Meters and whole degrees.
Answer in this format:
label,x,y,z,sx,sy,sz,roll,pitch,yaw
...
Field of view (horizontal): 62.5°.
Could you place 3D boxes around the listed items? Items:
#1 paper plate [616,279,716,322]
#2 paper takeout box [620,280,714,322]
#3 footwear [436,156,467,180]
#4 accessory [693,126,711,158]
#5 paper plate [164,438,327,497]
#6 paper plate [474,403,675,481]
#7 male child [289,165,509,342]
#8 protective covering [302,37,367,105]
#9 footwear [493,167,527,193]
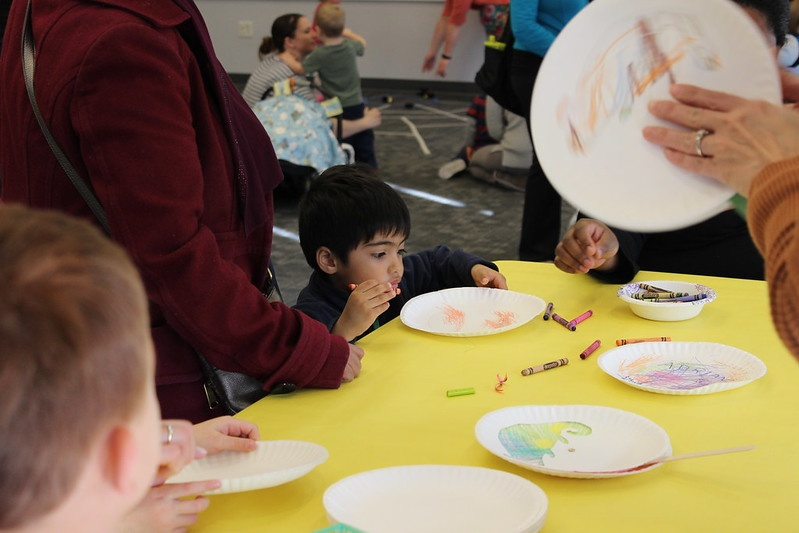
label,x,y,z,sx,sy,sz,roll,pitch,yaw
paper plate,0.605,0.081,1.482,0.125,0.033,0.131,-1,19,8
paper takeout box,0.606,0.081,1.482,0.124,0.033,0.130,-1,19,6
footwear,0.383,-0.730,4.865,0.072,0.080,0.290,-34,6,26
accessory,0.530,-0.222,1.163,0.016,0.043,0.033,10,10,30
paper plate,-0.220,0.302,1.015,0.203,0.027,0.210,0,1,-6
paper plate,0.288,0.285,1.090,0.173,0.025,0.148,10,22,25
male child,-0.005,-0.054,2.170,0.409,0.660,0.526,13,34,26
protective covering,-0.465,-1.414,4.812,0.431,0.508,0.339,-27,38,-20
footwear,0.764,-0.606,4.523,0.189,0.081,0.202,3,39,4
